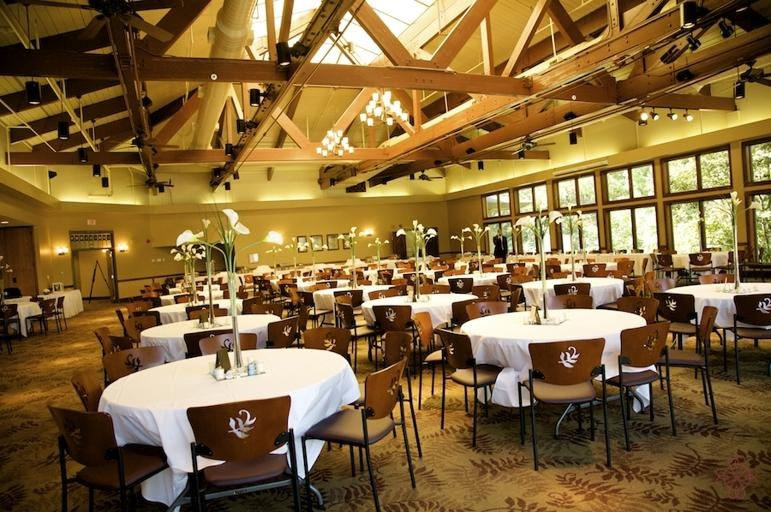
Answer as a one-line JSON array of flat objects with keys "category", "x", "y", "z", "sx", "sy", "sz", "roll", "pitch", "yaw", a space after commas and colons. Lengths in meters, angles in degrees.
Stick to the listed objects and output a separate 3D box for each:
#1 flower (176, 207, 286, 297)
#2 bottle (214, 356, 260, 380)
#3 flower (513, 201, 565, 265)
[{"category": "flower", "x": -2.170, "y": -0.052, "z": 6.920, "sx": 1.009, "sy": 0.957, "sz": 1.123, "roll": 3, "pitch": 9, "yaw": -5}, {"category": "bottle", "x": -1.518, "y": 1.159, "z": 5.226, "sx": 0.468, "sy": 0.195, "sz": 0.244, "roll": -5, "pitch": -1, "yaw": -22}, {"category": "flower", "x": 2.019, "y": -0.149, "z": 6.752, "sx": 0.630, "sy": 0.799, "sz": 0.569, "roll": -6, "pitch": -5, "yaw": 29}]
